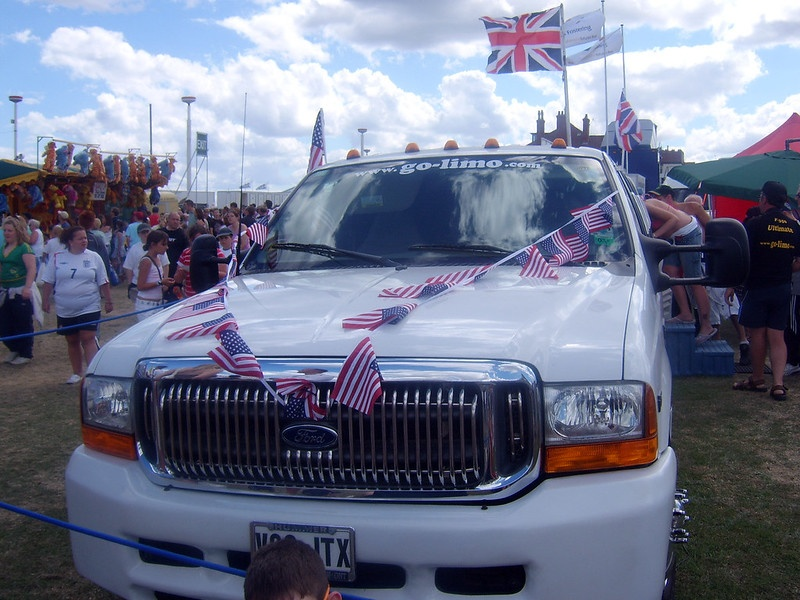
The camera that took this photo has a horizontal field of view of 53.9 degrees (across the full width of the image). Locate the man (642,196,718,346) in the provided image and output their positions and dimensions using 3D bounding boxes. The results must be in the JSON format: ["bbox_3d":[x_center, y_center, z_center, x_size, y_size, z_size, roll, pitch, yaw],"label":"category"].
[{"bbox_3d":[3.271,-0.268,9.139,0.789,1.816,1.698,3,12,22],"label":"man"}]

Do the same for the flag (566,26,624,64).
[{"bbox_3d":[5.150,-6.619,20.757,0.254,0.607,1.777,-16,11,-28],"label":"flag"}]

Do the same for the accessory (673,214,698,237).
[{"bbox_3d":[3.141,-0.800,8.635,0.132,0.199,0.446,8,15,42],"label":"accessory"}]

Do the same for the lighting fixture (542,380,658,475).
[{"bbox_3d":[0.846,0.548,3.354,0.364,0.292,0.401,-2,-2,12],"label":"lighting fixture"}]

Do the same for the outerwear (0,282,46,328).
[{"bbox_3d":[-4.921,0.070,10.168,0.433,0.582,0.266,10,42,-8],"label":"outerwear"}]

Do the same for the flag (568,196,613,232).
[{"bbox_3d":[1.077,-0.455,4.382,0.241,0.203,0.090,-20,37,1],"label":"flag"}]

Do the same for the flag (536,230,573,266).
[{"bbox_3d":[0.852,-0.259,4.291,0.168,0.167,0.062,-35,-21,-1],"label":"flag"}]

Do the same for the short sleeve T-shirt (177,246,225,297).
[{"bbox_3d":[-1.667,-0.224,6.509,0.249,0.492,0.491,6,10,0],"label":"short sleeve T-shirt"}]

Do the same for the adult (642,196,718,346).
[{"bbox_3d":[3.272,-0.275,9.142,0.783,1.803,1.662,3,12,23],"label":"adult"}]

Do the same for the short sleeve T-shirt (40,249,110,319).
[{"bbox_3d":[-3.596,-0.181,8.787,0.531,0.708,0.341,-6,11,-20],"label":"short sleeve T-shirt"}]

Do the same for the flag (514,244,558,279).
[{"bbox_3d":[0.716,-0.200,4.142,0.215,0.144,0.226,0,12,7],"label":"flag"}]

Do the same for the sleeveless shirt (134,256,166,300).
[{"bbox_3d":[-2.945,-0.203,9.430,0.308,0.519,0.483,-7,-4,-7],"label":"sleeveless shirt"}]
